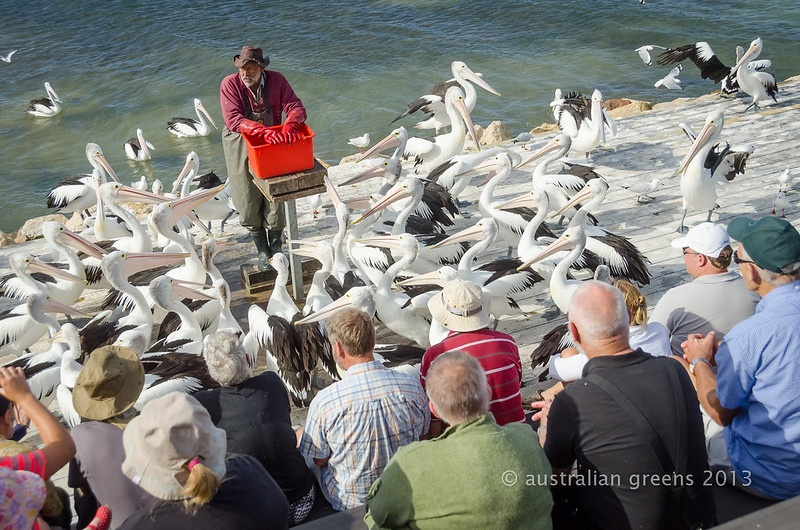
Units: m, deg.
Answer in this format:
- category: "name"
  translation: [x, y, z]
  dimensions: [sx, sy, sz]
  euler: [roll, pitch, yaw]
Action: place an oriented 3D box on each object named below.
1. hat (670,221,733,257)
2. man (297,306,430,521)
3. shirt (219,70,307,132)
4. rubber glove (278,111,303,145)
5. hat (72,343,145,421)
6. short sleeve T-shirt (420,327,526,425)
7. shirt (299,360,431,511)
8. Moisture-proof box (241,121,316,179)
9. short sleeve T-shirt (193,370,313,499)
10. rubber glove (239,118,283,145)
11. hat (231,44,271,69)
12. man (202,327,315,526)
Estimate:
- category: "hat"
  translation: [2.855, -0.265, 7.919]
  dimensions: [0.446, 0.233, 0.337]
  euler: [15, 27, 43]
- category: "man"
  translation: [-0.365, 1.325, 7.193]
  dimensions: [1.148, 1.434, 1.226]
  euler: [-17, 36, -19]
- category: "shirt"
  translation: [-1.639, -1.858, 9.442]
  dimensions: [0.737, 0.597, 0.898]
  euler: [-13, 36, -14]
- category: "rubber glove"
  translation: [-1.208, -1.508, 9.181]
  dimensions: [0.237, 0.162, 0.371]
  euler: [-7, 68, -11]
- category: "hat"
  translation: [-2.428, 1.010, 7.041]
  dimensions: [0.613, 0.182, 0.618]
  euler: [14, 70, 13]
- category: "short sleeve T-shirt"
  translation: [0.603, 0.949, 6.966]
  dimensions: [0.804, 0.861, 0.471]
  euler: [-6, 11, 1]
- category: "shirt"
  translation: [-0.323, 1.353, 7.446]
  dimensions: [1.344, 1.511, 1.230]
  euler: [-4, 34, -5]
- category: "Moisture-proof box"
  translation: [-1.310, -1.252, 9.258]
  dimensions: [0.789, 0.406, 0.531]
  euler: [-15, 36, -17]
- category: "short sleeve T-shirt"
  translation: [-1.264, 1.498, 7.341]
  dimensions: [0.849, 1.088, 0.415]
  euler: [-33, 8, -21]
- category: "rubber glove"
  translation: [-1.565, -1.428, 9.138]
  dimensions: [0.374, 0.105, 0.355]
  euler: [-3, 36, -20]
- category: "hat"
  translation: [-1.669, -2.325, 9.347]
  dimensions: [0.324, 0.145, 0.360]
  euler: [-3, 18, 0]
- category: "man"
  translation: [-1.136, 1.364, 7.093]
  dimensions: [0.948, 1.459, 0.632]
  euler: [-30, 3, -34]
